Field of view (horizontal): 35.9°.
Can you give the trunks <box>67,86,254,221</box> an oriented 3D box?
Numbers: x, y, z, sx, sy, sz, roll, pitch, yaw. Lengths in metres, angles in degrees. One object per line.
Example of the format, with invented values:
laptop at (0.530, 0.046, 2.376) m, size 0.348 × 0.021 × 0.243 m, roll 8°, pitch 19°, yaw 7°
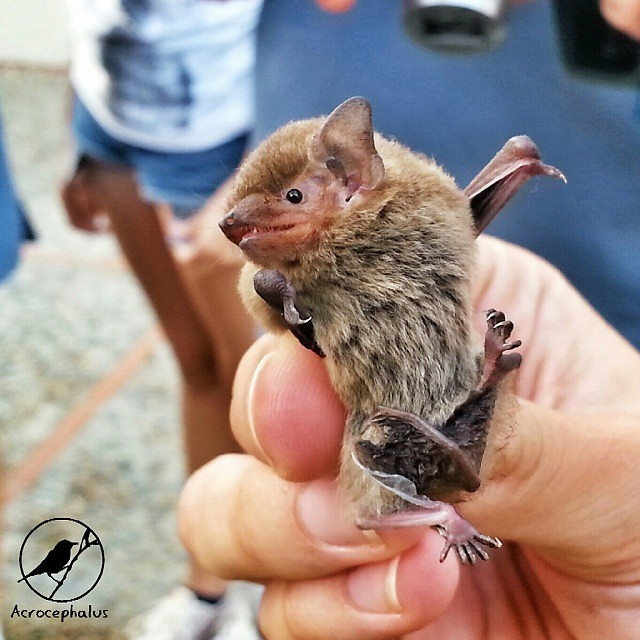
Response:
trunks at (-0.362, -0.337, 2.118) m, size 0.606 × 0.259 × 0.188 m, roll 0°, pitch 56°, yaw -4°
